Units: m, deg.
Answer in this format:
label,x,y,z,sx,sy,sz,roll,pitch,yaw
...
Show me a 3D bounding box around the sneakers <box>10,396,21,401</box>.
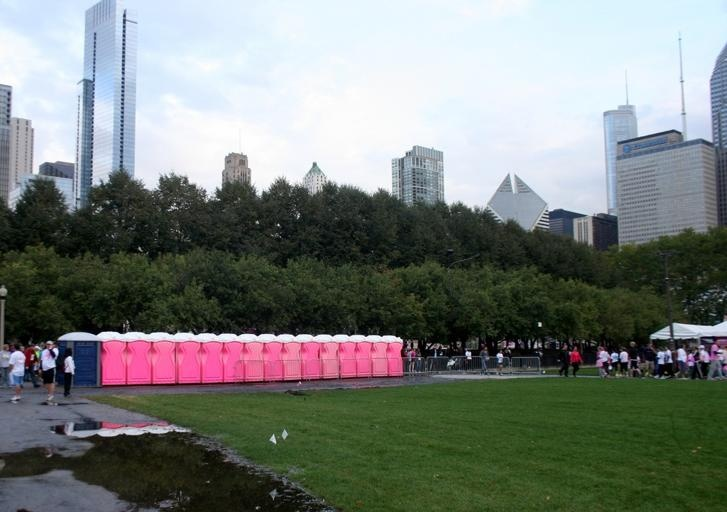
label,x,y,z,sx,sy,sz,roll,pitch,yaw
sneakers,-20.212,8.322,56.016,0.547,0.219,0.261,5,-12,-32
